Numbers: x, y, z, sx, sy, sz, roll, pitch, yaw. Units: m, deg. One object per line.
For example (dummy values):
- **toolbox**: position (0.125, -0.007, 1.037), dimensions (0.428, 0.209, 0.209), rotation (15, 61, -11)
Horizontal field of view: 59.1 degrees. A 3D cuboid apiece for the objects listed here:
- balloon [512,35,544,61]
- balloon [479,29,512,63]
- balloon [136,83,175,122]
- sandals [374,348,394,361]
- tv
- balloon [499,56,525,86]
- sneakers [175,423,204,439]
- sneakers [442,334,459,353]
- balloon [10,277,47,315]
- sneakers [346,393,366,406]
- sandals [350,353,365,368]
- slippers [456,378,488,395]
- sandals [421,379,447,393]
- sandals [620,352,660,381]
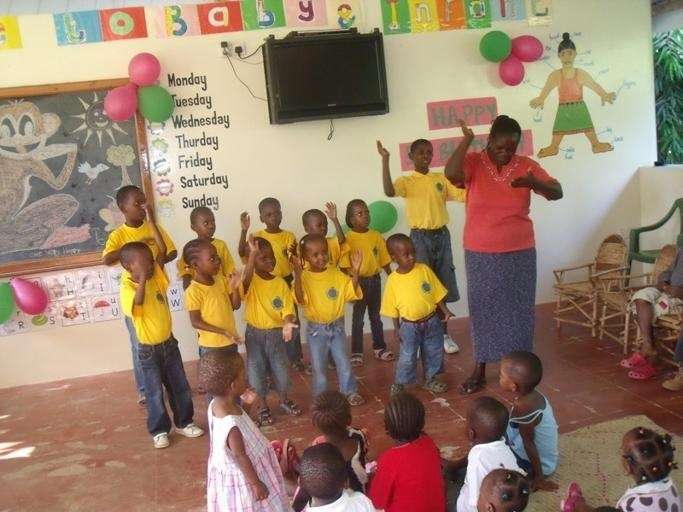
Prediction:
- **balloon**: position (1.797, -1.992, 5.792), dimensions (0.282, 0.244, 0.149), rotation (-3, 14, 15)
- **balloon**: position (1.495, -1.988, 5.750), dimensions (0.317, 0.283, 0.211), rotation (-6, 13, 2)
- **balloon**: position (-1.604, -1.310, 5.307), dimensions (0.249, 0.338, 0.247), rotation (-29, 21, 10)
- **sandals**: position (0.372, 0.866, 5.248), dimensions (0.079, 0.058, 0.147), rotation (-7, 7, -41)
- **tv**: position (-0.165, -1.597, 5.336), dimensions (0.818, 0.612, 0.277), rotation (-6, 14, -13)
- **balloon**: position (1.649, -1.759, 5.846), dimensions (0.211, 0.213, 0.281), rotation (-23, 52, 5)
- **sneakers**: position (-1.075, 1.228, 4.257), dimensions (0.184, 0.073, 0.090), rotation (1, 3, 21)
- **sneakers**: position (0.965, 0.780, 5.311), dimensions (0.083, 0.083, 0.210), rotation (-3, 8, -15)
- **balloon**: position (-2.713, 0.353, 5.211), dimensions (0.253, 0.326, 0.124), rotation (-6, 13, 4)
- **sneakers**: position (0.116, 1.060, 4.437), dimensions (0.074, 0.057, 0.146), rotation (-3, 2, -22)
- **sandals**: position (0.137, 0.898, 5.134), dimensions (0.146, 0.110, 0.403), rotation (-1, -1, 1)
- **slippers**: position (0.957, 0.968, 4.458), dimensions (0.167, 0.060, 0.090), rotation (-7, 7, -30)
- **sandals**: position (0.701, 0.972, 4.514), dimensions (0.128, 0.047, 0.095), rotation (-1, 8, 25)
- **sandals**: position (2.251, 0.825, 4.493), dimensions (0.203, 0.066, 0.162), rotation (-10, 22, -20)
